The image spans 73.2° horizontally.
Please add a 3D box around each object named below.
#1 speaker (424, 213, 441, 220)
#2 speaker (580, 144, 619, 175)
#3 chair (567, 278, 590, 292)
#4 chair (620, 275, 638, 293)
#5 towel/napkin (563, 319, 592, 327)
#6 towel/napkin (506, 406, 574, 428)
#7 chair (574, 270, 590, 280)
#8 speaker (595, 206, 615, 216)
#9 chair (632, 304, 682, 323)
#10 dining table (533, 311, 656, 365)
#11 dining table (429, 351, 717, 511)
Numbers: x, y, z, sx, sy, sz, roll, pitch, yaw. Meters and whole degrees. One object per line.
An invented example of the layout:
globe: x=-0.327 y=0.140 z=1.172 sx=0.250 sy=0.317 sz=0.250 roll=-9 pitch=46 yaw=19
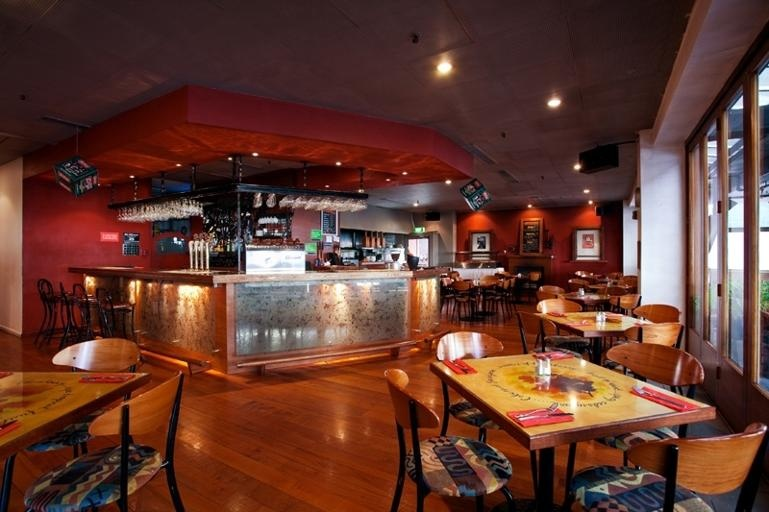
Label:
speaker: x=1.653 y=-1.368 z=17.851 sx=0.548 sy=0.255 sz=0.337 roll=2 pitch=0 yaw=2
speaker: x=3.607 y=-1.668 z=8.671 sx=0.570 sy=0.503 sz=0.475 roll=-2 pitch=-1 yaw=43
chair: x=4.405 y=0.647 z=11.736 sx=0.513 sy=0.332 sz=0.462 roll=-3 pitch=4 yaw=-1
chair: x=5.190 y=0.605 z=11.020 sx=0.282 sy=0.264 sz=0.356 roll=8 pitch=10 yaw=41
towel/napkin: x=2.412 y=0.812 z=6.327 sx=0.300 sy=0.034 sz=0.335 roll=-2 pitch=0 yaw=2
towel/napkin: x=1.267 y=1.308 z=4.213 sx=0.325 sy=0.041 sz=0.195 roll=-2 pitch=4 yaw=-17
chair: x=5.528 y=0.547 z=14.477 sx=0.373 sy=0.223 sz=0.634 roll=-2 pitch=0 yaw=14
speaker: x=6.449 y=-1.338 z=15.218 sx=0.520 sy=0.318 sz=0.268 roll=3 pitch=6 yaw=19
chair: x=3.686 y=0.782 z=7.016 sx=0.363 sy=0.439 sz=0.383 roll=3 pitch=-3 yaw=-29
dining table: x=2.534 y=0.863 z=6.434 sx=0.987 sy=0.813 sz=0.917 roll=1 pitch=-4 yaw=-10
dining table: x=1.588 y=1.236 z=4.668 sx=1.842 sy=1.242 sz=1.825 roll=1 pitch=1 yaw=-20
